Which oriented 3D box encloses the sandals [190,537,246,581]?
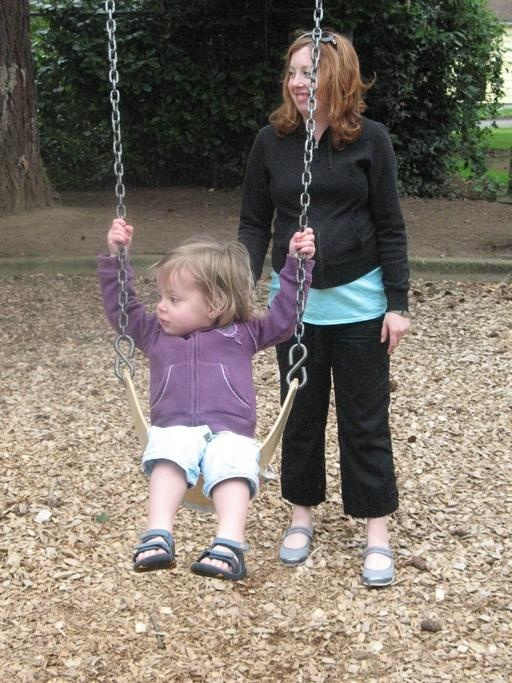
[{"bbox_3d":[-0.085,0.479,1.730,0.068,0.054,0.136,-1,-24,21],"label":"sandals"}]

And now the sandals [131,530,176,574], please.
[{"bbox_3d":[-0.225,0.475,1.732,0.089,0.115,0.092,-3,15,-9],"label":"sandals"}]

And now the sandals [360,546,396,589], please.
[{"bbox_3d":[0.374,0.685,2.392,0.067,0.053,0.153,-1,11,8],"label":"sandals"}]

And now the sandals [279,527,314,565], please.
[{"bbox_3d":[0.127,0.655,2.520,0.065,0.057,0.163,2,12,14],"label":"sandals"}]

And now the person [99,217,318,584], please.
[{"bbox_3d":[-0.074,0.114,1.905,0.497,0.746,0.600,-2,14,-4],"label":"person"}]
